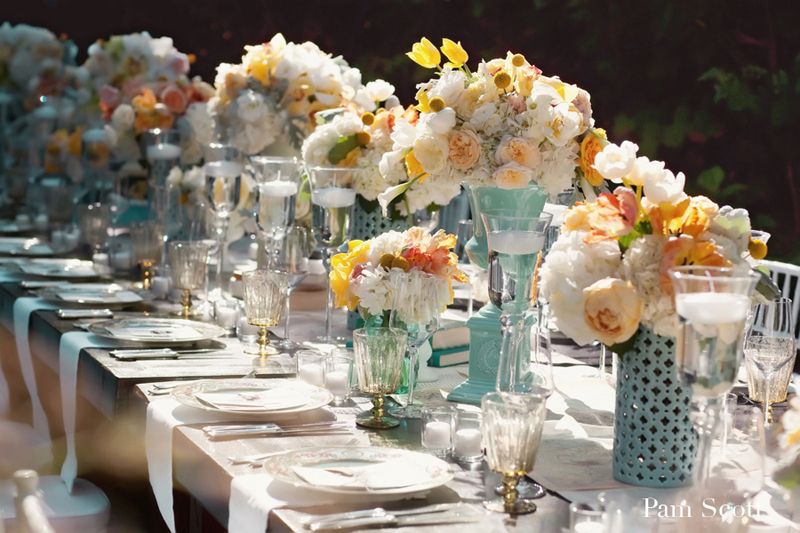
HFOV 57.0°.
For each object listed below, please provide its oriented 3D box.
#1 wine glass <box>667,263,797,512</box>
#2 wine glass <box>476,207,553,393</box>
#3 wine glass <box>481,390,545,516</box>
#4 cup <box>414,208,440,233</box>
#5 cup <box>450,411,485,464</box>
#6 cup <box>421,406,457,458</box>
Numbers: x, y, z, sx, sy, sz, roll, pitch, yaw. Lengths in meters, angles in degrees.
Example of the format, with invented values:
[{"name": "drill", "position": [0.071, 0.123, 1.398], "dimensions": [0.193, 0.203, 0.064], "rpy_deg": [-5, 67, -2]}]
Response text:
[{"name": "wine glass", "position": [0.596, 0.219, 1.372], "dimensions": [0.160, 0.305, 0.251], "rpy_deg": [2, -1, 27]}, {"name": "wine glass", "position": [0.282, 0.099, 1.848], "dimensions": [0.213, 0.495, 0.199], "rpy_deg": [1, 11, 4]}, {"name": "wine glass", "position": [0.224, 0.378, 1.494], "dimensions": [0.123, 0.204, 0.109], "rpy_deg": [2, -1, 0]}, {"name": "cup", "position": [0.100, -0.167, 2.657], "dimensions": [0.072, 0.083, 0.083], "rpy_deg": [-2, -11, 19]}, {"name": "cup", "position": [0.162, 0.406, 1.752], "dimensions": [0.087, 0.103, 0.091], "rpy_deg": [2, -3, 0]}, {"name": "cup", "position": [0.091, 0.390, 1.737], "dimensions": [0.094, 0.112, 0.096], "rpy_deg": [2, 1, 0]}]
